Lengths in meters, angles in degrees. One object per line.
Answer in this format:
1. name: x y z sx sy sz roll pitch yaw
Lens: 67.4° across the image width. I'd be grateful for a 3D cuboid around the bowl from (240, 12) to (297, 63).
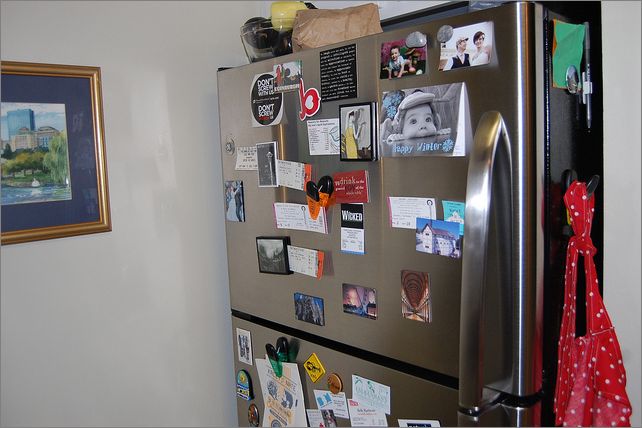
1. bowl: -0.192 -0.649 1.853 0.186 0.130 0.191 -13 8 2
